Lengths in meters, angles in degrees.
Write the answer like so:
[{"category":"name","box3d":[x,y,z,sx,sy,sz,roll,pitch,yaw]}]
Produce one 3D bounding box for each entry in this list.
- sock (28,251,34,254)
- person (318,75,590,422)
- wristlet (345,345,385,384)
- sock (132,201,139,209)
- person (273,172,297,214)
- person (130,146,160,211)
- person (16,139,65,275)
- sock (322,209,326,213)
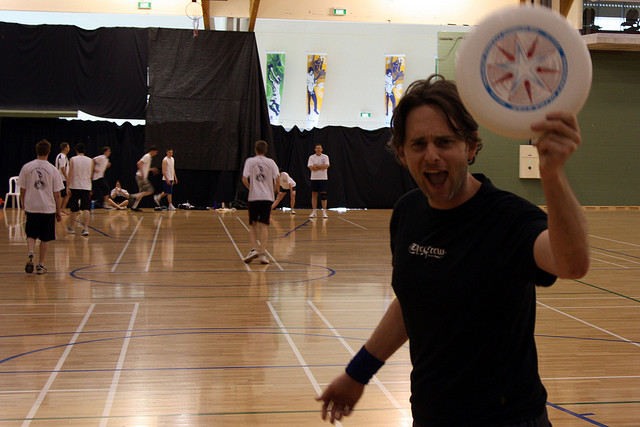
[{"category":"sock","box3d":[-3.991,0.527,7.905,0.081,0.057,0.112,0,-3,-17]},{"category":"person","box3d":[0.651,0.165,2.363,0.795,1.424,0.404,3,10,18]},{"category":"wristlet","box3d":[0.201,0.713,2.751,0.157,0.181,0.168,29,8,-7]},{"category":"sock","box3d":[-5.458,-0.284,16.873,0.147,0.267,0.510,-3,10,-19]},{"category":"person","box3d":[-1.055,-0.633,16.200,0.735,1.260,0.907,2,8,6]},{"category":"person","box3d":[-5.277,-1.130,17.230,0.819,2.013,0.792,-2,46,-22]},{"category":"person","box3d":[-3.862,-0.100,7.966,0.559,1.823,0.734,-5,11,-28]},{"category":"sock","box3d":[0.116,-0.099,16.351,0.090,0.103,0.094,0,-14,3]}]
